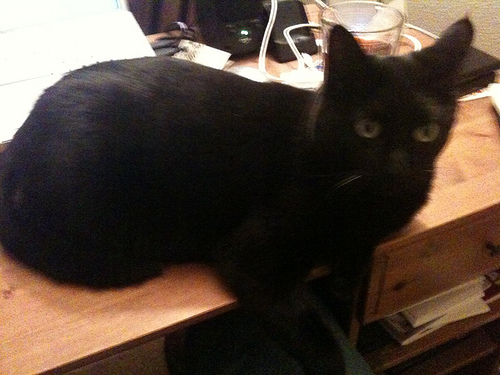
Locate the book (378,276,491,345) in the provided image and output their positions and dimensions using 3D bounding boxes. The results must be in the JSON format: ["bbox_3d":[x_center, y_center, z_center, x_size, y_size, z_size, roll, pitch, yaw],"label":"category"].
[{"bbox_3d":[0.412,0.267,0.937,0.194,0.039,0.174,-17,16,-6],"label":"book"}]

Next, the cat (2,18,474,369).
[{"bbox_3d":[-0.004,-0.079,0.743,0.897,0.471,0.290,15,21,5],"label":"cat"}]

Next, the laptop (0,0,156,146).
[{"bbox_3d":[-0.262,-0.179,0.589,0.236,0.147,0.084,-25,53,-18],"label":"laptop"}]

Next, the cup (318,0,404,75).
[{"bbox_3d":[0.151,-0.214,0.647,0.138,0.090,0.092,4,85,2],"label":"cup"}]
